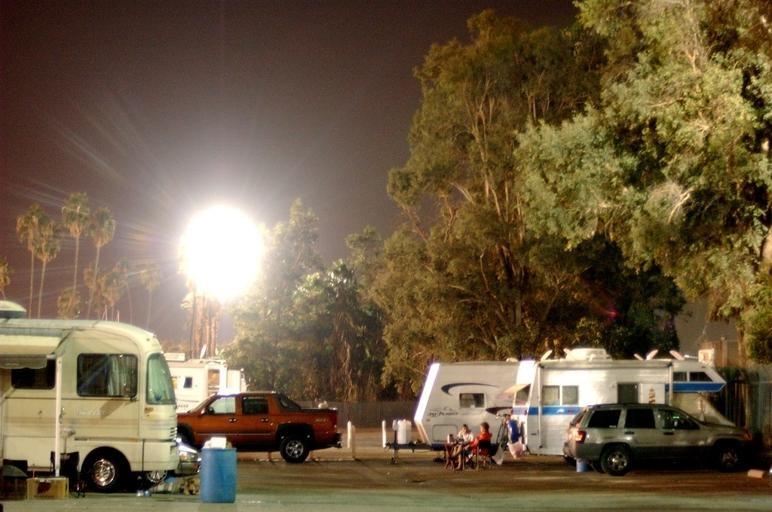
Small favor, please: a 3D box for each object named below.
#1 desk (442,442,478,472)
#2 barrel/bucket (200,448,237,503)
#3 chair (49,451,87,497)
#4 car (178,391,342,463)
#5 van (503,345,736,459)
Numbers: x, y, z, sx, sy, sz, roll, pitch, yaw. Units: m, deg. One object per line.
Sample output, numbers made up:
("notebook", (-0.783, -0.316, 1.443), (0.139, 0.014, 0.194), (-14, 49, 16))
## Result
("desk", (2.581, 6.885, 30.005), (0.806, 0.941, 1.354), (-3, -6, 20))
("barrel/bucket", (-4.192, 5.518, 21.728), (0.848, 1.359, 0.393), (-1, -13, -9))
("chair", (-8.385, 5.864, 23.337), (0.624, 1.145, 0.695), (3, -15, -20))
("car", (-4.492, 6.166, 31.756), (5.015, 1.985, 2.678), (3, -9, -3))
("van", (8.004, 5.478, 31.866), (6.191, 3.708, 3.937), (-1, -3, -3))
